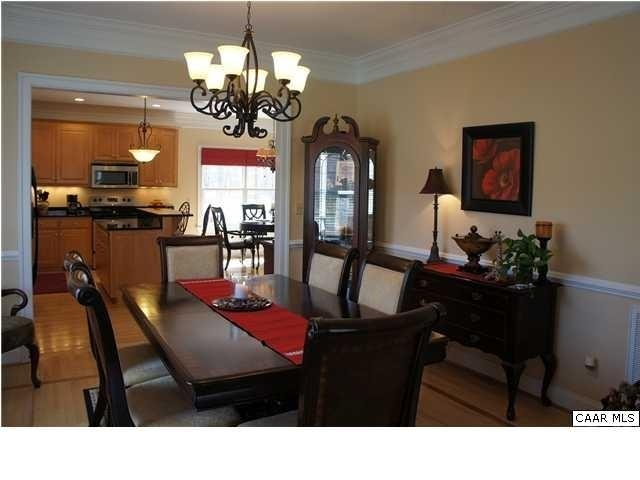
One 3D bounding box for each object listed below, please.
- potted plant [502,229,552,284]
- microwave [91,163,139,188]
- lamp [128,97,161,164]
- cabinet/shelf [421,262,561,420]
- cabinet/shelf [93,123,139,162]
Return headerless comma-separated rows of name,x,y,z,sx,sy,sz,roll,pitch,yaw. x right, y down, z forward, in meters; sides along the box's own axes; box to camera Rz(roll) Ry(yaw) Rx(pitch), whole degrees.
potted plant,1.473,0.090,3.364,0.382,0.372,0.390,2,5,43
microwave,-3.641,-1.128,7.914,0.703,0.432,0.419,-1,2,-37
lamp,-2.982,-1.802,7.652,0.499,1.015,1.173,-3,10,-22
cabinet/shelf,1.301,0.748,3.338,0.400,0.725,1.099,0,2,-21
cabinet/shelf,-3.616,-1.719,7.900,0.774,0.717,0.391,-1,4,-33
